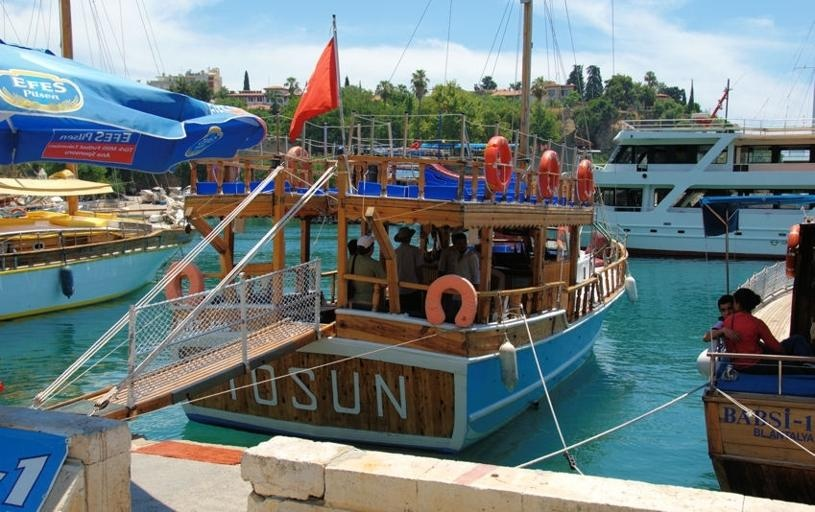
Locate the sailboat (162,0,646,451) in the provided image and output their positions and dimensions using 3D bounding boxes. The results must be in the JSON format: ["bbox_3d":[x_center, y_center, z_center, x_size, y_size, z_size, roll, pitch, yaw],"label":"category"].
[{"bbox_3d":[1.247,-1.033,16.772,4.943,8.711,8.144,9,12,30],"label":"sailboat"}]

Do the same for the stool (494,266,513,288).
[{"bbox_3d":[2.148,0.474,17.427,0.397,0.672,0.728,0,2,16],"label":"stool"}]

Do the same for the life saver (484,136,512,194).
[{"bbox_3d":[1.648,-1.700,14.417,0.332,1.047,0.759,11,13,38],"label":"life saver"}]
